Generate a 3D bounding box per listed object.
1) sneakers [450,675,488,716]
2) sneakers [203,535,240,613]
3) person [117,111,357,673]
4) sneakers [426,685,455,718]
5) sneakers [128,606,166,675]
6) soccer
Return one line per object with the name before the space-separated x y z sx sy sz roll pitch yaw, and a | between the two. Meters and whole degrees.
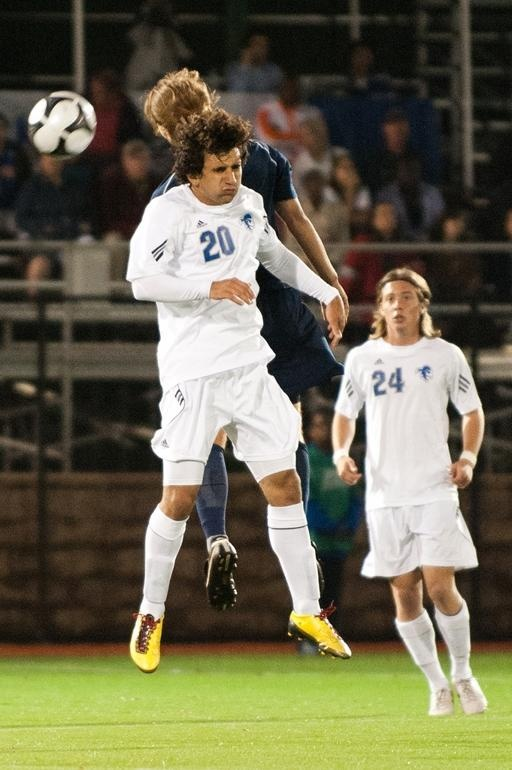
sneakers | 0.939 1.371 5.445 0.079 0.088 0.218 -33 31 7
sneakers | -0.137 0.726 4.650 0.124 0.281 0.147 2 25 -7
person | -0.091 0.023 4.607 0.820 2.125 0.539 -2 7 -7
sneakers | 0.821 1.414 5.452 0.067 0.067 0.179 -2 23 14
sneakers | -0.409 0.976 4.663 0.109 0.241 0.108 1 -16 -10
soccer | -0.895 -1.210 5.658 0.289 0.325 0.273 -3 6 -17
